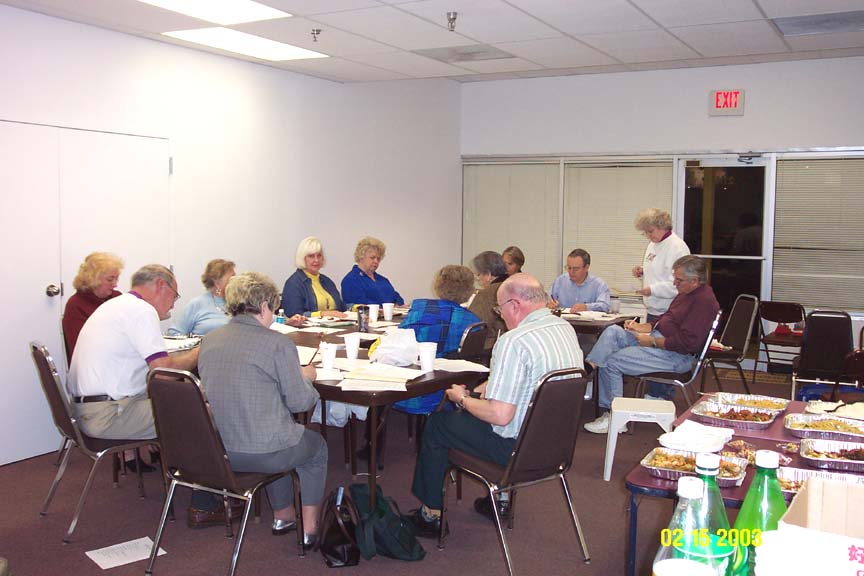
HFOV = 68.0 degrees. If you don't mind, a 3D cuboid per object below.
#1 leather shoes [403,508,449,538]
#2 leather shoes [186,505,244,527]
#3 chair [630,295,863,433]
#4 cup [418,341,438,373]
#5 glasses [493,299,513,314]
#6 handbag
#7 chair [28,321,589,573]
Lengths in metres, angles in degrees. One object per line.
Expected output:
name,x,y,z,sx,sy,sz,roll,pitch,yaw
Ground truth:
leather shoes,-0.063,1.471,3.974,0.304,0.129,0.128,11,7,36
leather shoes,-1.379,1.447,4.062,0.277,0.115,0.201,1,1,-16
chair,2.650,0.596,5.417,0.489,0.832,1.258,1,0,-44
cup,-0.030,0.435,4.092,0.167,0.176,0.164,2,9,0
glasses,0.453,0.116,4.080,0.113,0.035,0.107,-10,-2,-40
handbag,-0.400,1.413,3.765,0.453,0.200,0.510,0,15,-19
chair,-1.373,0.953,3.838,2.369,1.264,0.890,1,10,18
